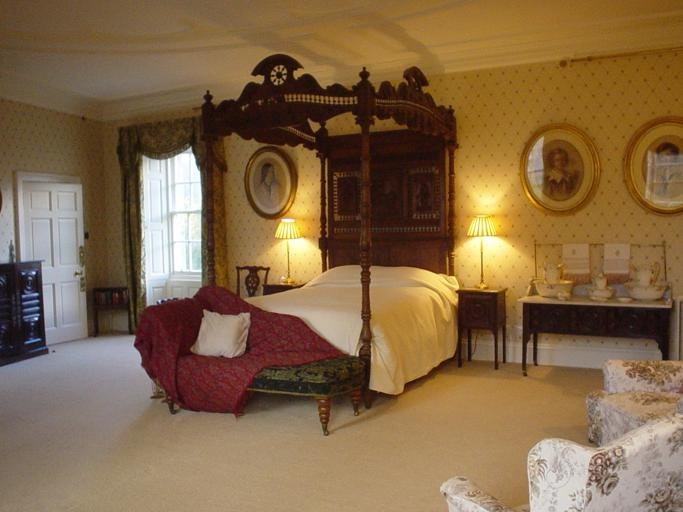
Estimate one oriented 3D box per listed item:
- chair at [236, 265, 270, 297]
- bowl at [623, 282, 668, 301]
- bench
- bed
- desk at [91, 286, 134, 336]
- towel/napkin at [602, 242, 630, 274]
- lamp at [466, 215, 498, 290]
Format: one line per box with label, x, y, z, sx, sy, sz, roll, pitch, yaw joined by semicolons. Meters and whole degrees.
chair;-1.338;0.374;8.735;0.432;0.838;0.490;0;-2;15
bowl;3.367;0.393;6.154;0.238;0.130;0.259;-1;1;0
bench;-0.883;0.846;5.630;1.649;0.990;1.289;1;5;17
bed;0.093;-0.723;6.718;2.419;2.937;2.645;-2;12;-8
desk;-3.769;0.879;9.167;0.667;1.002;0.507;0;3;-4
towel/napkin;3.253;0.021;6.557;0.309;0.460;0.055;2;-3;32
lamp;1.797;-0.094;7.088;0.367;0.904;0.258;0;2;15
